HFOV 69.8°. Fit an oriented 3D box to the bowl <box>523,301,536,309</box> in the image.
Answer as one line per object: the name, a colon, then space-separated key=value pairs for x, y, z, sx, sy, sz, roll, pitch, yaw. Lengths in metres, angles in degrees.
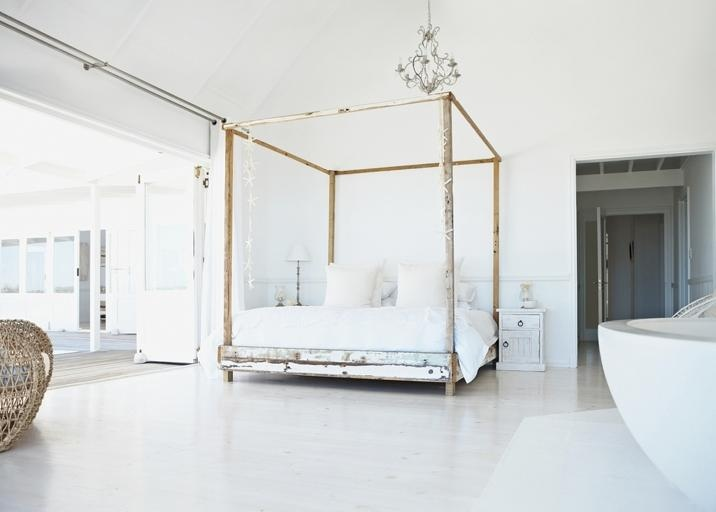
bowl: x=1.980 y=0.565 z=5.919 sx=0.150 sy=0.080 sz=0.133 roll=-1 pitch=-4 yaw=13

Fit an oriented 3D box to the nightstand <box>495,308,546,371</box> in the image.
nightstand: x=1.859 y=0.881 z=5.941 sx=0.535 sy=0.759 sz=0.433 roll=-2 pitch=18 yaw=10
